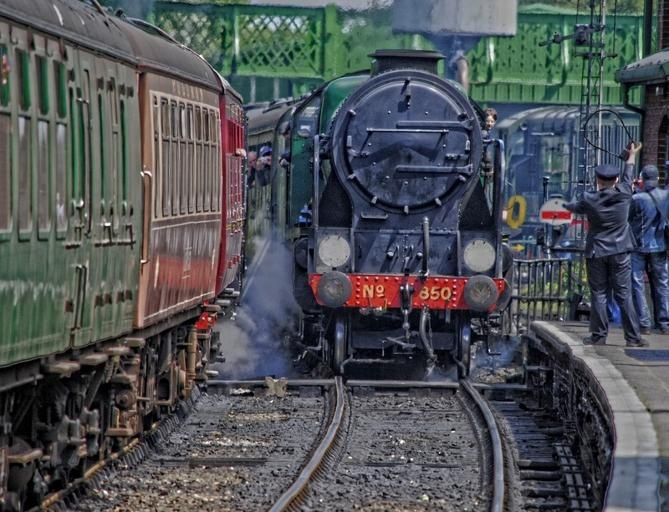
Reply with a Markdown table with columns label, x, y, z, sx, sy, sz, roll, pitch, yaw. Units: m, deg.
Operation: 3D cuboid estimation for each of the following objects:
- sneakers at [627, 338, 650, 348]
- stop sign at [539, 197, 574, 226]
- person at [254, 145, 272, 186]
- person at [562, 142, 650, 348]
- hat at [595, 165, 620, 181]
| label | x | y | z | sx | sy | sz | roll | pitch | yaw |
| --- | --- | --- | --- | --- | --- | --- | --- | --- | --- |
| sneakers | 3.798 | 1.077 | 10.964 | 0.218 | 0.126 | 0.117 | -1 | 4 | -10 |
| stop sign | 5.312 | -1.045 | 21.003 | 1.025 | 0.619 | 1.523 | 1 | -4 | 2 |
| person | -1.566 | -1.952 | 19.128 | 0.465 | 1.004 | 0.450 | 2 | 10 | 29 |
| person | 3.431 | -0.158 | 10.983 | 0.898 | 2.547 | 0.486 | 3 | 4 | 12 |
| hat | 3.408 | -1.042 | 10.929 | 0.268 | 0.204 | 0.367 | 4 | 5 | 20 |
